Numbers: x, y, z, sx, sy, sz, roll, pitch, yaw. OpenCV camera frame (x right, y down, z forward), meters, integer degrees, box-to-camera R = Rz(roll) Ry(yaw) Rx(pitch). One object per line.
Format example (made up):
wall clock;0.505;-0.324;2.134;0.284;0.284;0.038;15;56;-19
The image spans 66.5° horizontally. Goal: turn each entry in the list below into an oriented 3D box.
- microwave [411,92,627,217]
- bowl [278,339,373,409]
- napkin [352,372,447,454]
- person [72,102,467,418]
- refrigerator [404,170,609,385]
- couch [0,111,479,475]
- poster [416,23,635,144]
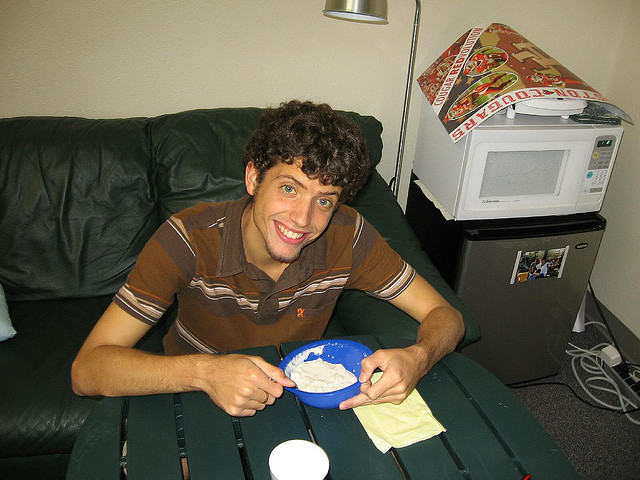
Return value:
microwave;0.881;-0.426;2.471;0.995;0.546;0.656;-7;25;-22
bowl;0.021;0.414;1.485;0.253;0.109;0.224;-10;22;-39
napkin;0.227;0.519;1.448;0.244;0.117;0.277;-7;25;-24
person;-0.233;0.085;1.853;1.143;1.186;0.723;-9;50;-30
refrigerator;0.979;0.187;2.718;0.827;0.920;0.760;0;30;2
couch;-0.736;0.569;3.244;2.822;1.303;1.422;-20;64;-11
poster;0.849;-0.749;2.266;0.669;0.458;0.601;-3;25;-9
